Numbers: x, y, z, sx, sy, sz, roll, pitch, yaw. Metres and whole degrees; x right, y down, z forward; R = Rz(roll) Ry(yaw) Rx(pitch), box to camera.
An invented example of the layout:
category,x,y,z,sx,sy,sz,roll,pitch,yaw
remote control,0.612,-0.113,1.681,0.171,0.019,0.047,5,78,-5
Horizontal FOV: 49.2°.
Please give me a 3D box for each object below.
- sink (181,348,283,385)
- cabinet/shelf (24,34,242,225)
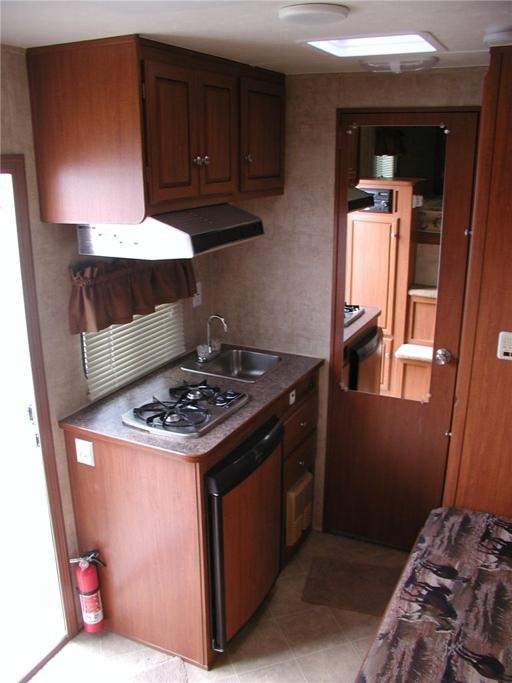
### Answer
category,x,y,z,sx,sy,sz,roll,pitch,yaw
sink,-0.136,0.114,2.967,0.238,0.109,0.288,19,34,38
cabinet/shelf,-0.376,-0.740,2.055,0.476,0.610,0.648,16,24,30
